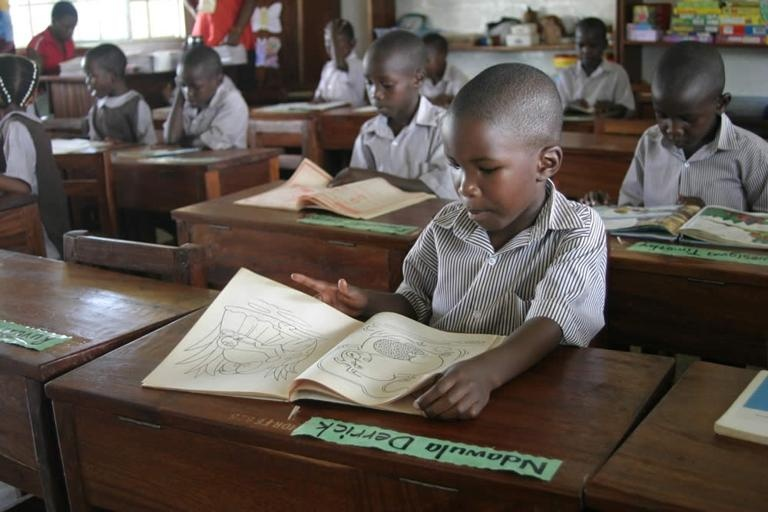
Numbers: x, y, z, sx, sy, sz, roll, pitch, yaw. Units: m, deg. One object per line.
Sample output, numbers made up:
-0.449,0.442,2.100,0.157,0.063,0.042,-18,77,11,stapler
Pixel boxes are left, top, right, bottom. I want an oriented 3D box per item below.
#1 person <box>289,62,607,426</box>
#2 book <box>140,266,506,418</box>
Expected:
0.103,-0.116,1.452,0.704,0.797,0.676,-16,19,-39,person
-0.090,0.153,1.096,0.579,0.124,0.307,6,18,13,book
